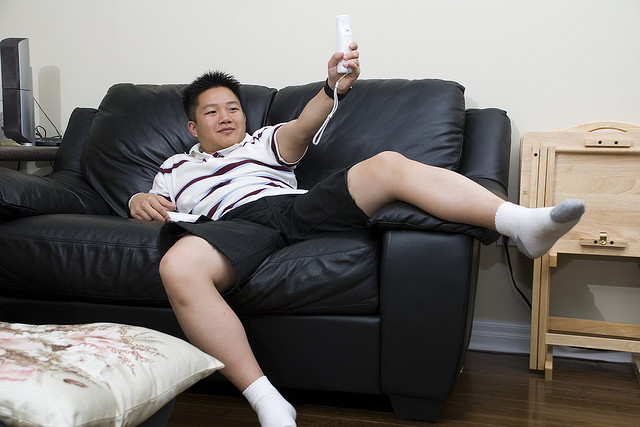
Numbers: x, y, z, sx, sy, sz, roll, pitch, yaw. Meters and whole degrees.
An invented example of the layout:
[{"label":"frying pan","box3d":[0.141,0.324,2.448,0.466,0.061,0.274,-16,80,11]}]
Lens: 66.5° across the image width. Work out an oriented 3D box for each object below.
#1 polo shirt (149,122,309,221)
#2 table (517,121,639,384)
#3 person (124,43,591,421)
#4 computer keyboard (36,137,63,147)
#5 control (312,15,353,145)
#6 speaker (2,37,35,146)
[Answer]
[{"label":"polo shirt","box3d":[-0.430,-0.192,2.165,0.718,0.397,0.384,0,8,3]},{"label":"table","box3d":[1.130,0.074,2.263,0.639,1.192,0.574,0,11,15]},{"label":"person","box3d":[-0.158,0.009,2.061,1.263,0.929,1.894,-16,28,-23]},{"label":"computer keyboard","box3d":[-1.553,-0.409,2.794,0.125,0.055,0.280,-5,9,-29]},{"label":"control","box3d":[0.033,-0.469,1.990,0.138,0.623,0.076,7,38,-6]},{"label":"speaker","box3d":[-1.699,-0.687,2.729,0.156,0.597,0.116,-5,9,-29]}]
